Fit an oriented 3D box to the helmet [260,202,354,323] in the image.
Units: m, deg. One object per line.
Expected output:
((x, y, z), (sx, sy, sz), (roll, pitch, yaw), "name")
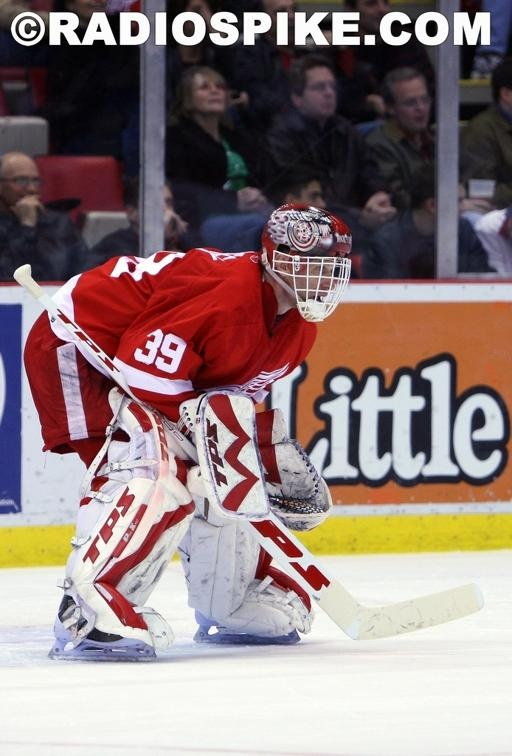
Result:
((0.113, -0.264, 2.401), (0.231, 0.257, 0.205), (11, 7, 13), "helmet")

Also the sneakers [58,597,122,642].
((-0.336, 0.501, 2.165), (0.115, 0.056, 0.083), (33, 33, 8), "sneakers")

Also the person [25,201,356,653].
((-0.157, 0.128, 2.436), (0.801, 0.957, 0.720), (9, -12, -43), "person")
